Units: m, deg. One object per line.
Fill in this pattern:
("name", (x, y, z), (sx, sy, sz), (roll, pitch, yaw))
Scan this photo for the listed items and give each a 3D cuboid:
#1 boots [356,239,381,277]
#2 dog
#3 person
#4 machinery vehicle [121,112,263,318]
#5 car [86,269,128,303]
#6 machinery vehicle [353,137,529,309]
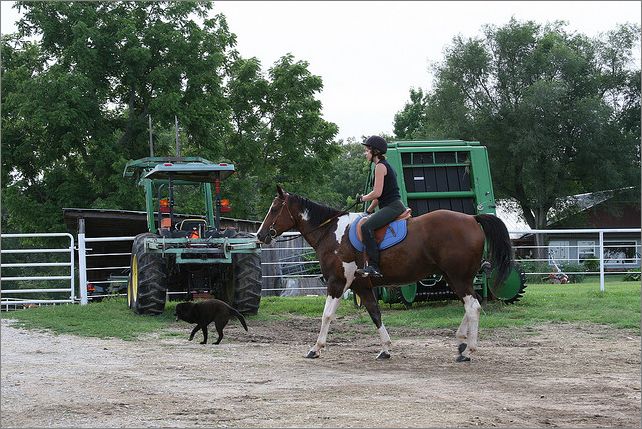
("boots", (0.975, 0.908, 13.079), (0.456, 0.755, 0.270), (0, 7, 3))
("dog", (-2.406, 2.322, 14.394), (1.685, 0.958, 0.464), (0, -6, 14))
("person", (1.207, -0.162, 13.362), (0.917, 2.796, 1.160), (0, 7, 6))
("machinery vehicle", (-3.690, 0.105, 18.554), (3.370, 5.002, 7.094), (-2, 3, -16))
("car", (-8.798, 2.958, 27.379), (2.132, 1.066, 3.446), (2, -2, -22))
("machinery vehicle", (2.752, 0.210, 19.450), (3.486, 4.779, 4.980), (0, -3, -6))
